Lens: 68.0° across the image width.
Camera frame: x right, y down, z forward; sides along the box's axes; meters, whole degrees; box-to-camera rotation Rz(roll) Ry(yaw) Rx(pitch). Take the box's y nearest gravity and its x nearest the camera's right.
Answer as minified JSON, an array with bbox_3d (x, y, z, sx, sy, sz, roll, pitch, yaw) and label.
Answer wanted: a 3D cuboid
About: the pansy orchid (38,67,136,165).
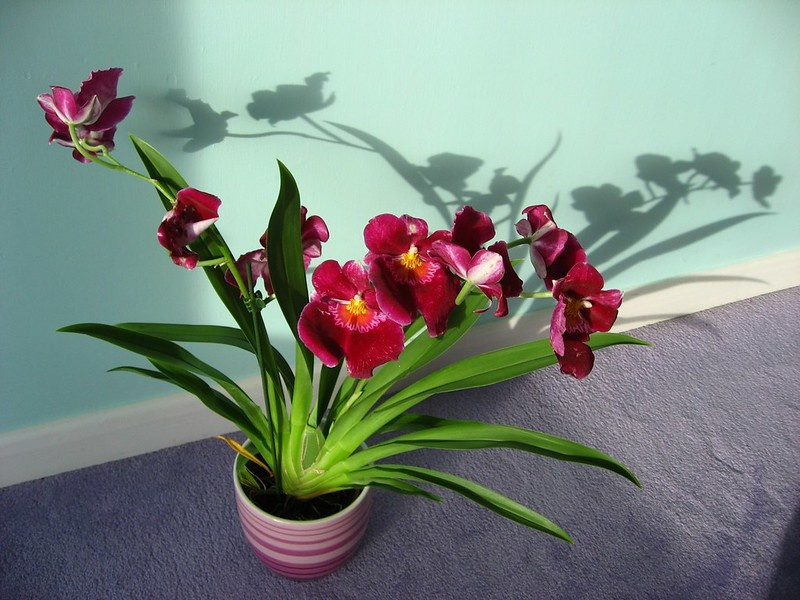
[{"bbox_3d":[-0.475,-0.274,0.916,0.130,0.126,0.142,-1,36,-24],"label":"pansy orchid"}]

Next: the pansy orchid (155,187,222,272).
[{"bbox_3d":[-0.288,-0.098,0.825,0.073,0.102,0.083,1,36,-8],"label":"pansy orchid"}]

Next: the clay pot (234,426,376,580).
[{"bbox_3d":[-0.208,0.424,1.191,0.240,0.195,0.263,6,25,-3],"label":"clay pot"}]

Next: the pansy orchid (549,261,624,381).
[{"bbox_3d":[0.252,0.025,0.838,0.093,0.140,0.110,21,38,19],"label":"pansy orchid"}]

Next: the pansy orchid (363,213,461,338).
[{"bbox_3d":[0.013,-0.018,0.854,0.140,0.171,0.065,6,-7,-4],"label":"pansy orchid"}]
